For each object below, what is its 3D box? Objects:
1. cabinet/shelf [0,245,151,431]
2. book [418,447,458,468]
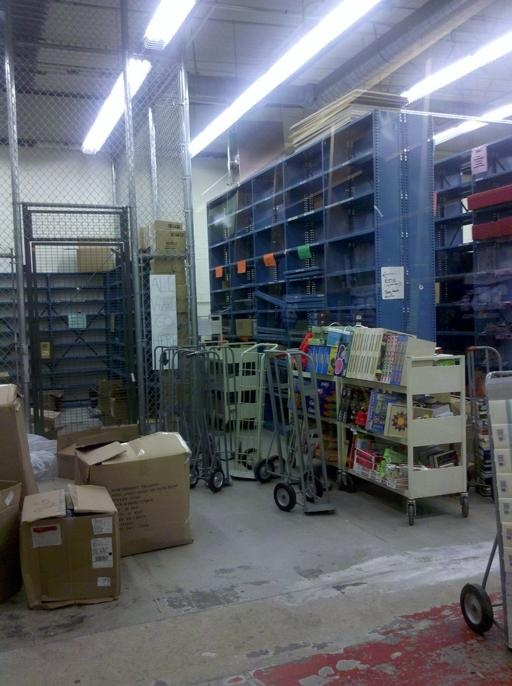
[{"bbox_3d":[-1.863,-0.042,5.779,1.255,2.151,2.227,-1,1,0],"label":"cabinet/shelf"},{"bbox_3d":[1.237,0.758,3.633,0.159,0.042,0.163,-3,3,-20],"label":"book"}]
